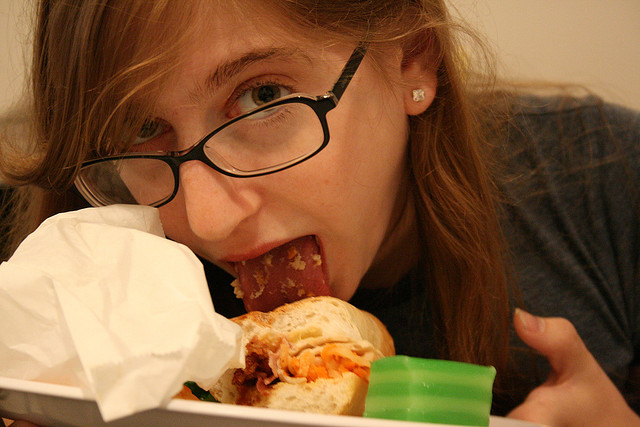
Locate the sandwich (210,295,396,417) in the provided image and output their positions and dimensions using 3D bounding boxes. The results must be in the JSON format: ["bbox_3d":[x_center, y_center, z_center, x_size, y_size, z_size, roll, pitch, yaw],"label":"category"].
[{"bbox_3d":[-0.059,0.351,1.490,0.359,0.494,0.255,-7,68,6],"label":"sandwich"}]

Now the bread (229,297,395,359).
[{"bbox_3d":[-0.004,0.227,1.364,0.197,0.079,0.171,8,1,3],"label":"bread"}]

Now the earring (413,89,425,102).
[{"bbox_3d":[0.228,-0.277,1.543,0.026,0.027,0.006,-1,8,-16],"label":"earring"}]
